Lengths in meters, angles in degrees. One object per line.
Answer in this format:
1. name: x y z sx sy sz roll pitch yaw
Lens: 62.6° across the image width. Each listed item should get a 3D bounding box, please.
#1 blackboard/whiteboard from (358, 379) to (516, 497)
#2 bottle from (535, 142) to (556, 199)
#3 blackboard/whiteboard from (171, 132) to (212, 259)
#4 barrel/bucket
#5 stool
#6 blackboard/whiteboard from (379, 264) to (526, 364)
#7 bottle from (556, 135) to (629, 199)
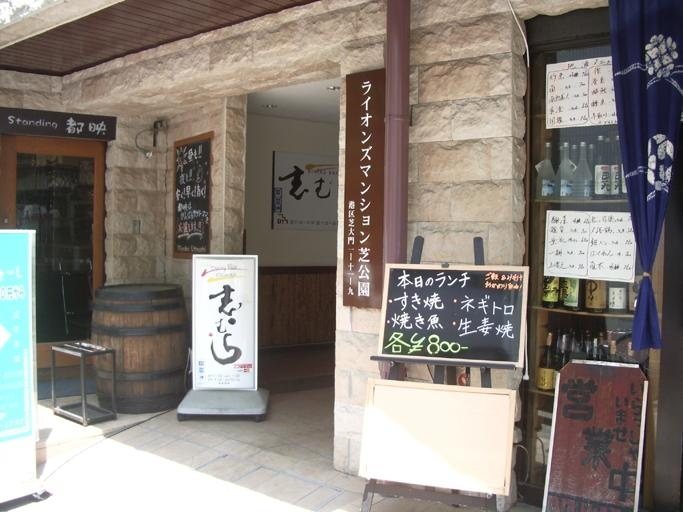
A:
1. blackboard/whiteboard: 0.512 0.983 3.034 0.656 0.489 0.059 4 -8 13
2. bottle: 1.265 -0.538 3.495 0.124 0.342 0.030 4 6 31
3. blackboard/whiteboard: -1.485 -0.615 5.626 0.071 1.845 1.246 2 -2 -31
4. barrel/bucket: -1.795 0.850 5.066 0.799 0.946 0.862 -2 -8 0
5. stool: -2.084 1.073 4.660 0.580 0.558 0.418 -2 -10 38
6. blackboard/whiteboard: 0.649 0.343 3.173 0.562 0.423 0.022 2 -15 12
7. bottle: 1.483 -0.529 3.349 0.373 0.377 0.076 4 6 26
